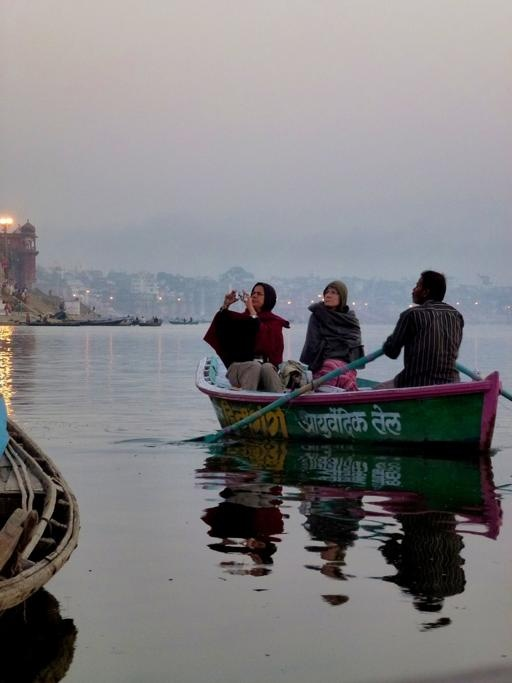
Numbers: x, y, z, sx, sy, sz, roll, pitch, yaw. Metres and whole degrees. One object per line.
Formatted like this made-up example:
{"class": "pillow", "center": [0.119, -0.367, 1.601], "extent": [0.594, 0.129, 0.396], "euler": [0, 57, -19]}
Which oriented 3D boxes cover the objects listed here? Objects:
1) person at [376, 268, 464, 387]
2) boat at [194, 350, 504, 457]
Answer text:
{"class": "person", "center": [1.567, -0.089, 7.996], "extent": [0.725, 1.129, 0.584], "euler": [3, 2, 11]}
{"class": "boat", "center": [0.955, 0.606, 8.802], "extent": [3.326, 0.679, 1.140], "euler": [-1, -7, 40]}
